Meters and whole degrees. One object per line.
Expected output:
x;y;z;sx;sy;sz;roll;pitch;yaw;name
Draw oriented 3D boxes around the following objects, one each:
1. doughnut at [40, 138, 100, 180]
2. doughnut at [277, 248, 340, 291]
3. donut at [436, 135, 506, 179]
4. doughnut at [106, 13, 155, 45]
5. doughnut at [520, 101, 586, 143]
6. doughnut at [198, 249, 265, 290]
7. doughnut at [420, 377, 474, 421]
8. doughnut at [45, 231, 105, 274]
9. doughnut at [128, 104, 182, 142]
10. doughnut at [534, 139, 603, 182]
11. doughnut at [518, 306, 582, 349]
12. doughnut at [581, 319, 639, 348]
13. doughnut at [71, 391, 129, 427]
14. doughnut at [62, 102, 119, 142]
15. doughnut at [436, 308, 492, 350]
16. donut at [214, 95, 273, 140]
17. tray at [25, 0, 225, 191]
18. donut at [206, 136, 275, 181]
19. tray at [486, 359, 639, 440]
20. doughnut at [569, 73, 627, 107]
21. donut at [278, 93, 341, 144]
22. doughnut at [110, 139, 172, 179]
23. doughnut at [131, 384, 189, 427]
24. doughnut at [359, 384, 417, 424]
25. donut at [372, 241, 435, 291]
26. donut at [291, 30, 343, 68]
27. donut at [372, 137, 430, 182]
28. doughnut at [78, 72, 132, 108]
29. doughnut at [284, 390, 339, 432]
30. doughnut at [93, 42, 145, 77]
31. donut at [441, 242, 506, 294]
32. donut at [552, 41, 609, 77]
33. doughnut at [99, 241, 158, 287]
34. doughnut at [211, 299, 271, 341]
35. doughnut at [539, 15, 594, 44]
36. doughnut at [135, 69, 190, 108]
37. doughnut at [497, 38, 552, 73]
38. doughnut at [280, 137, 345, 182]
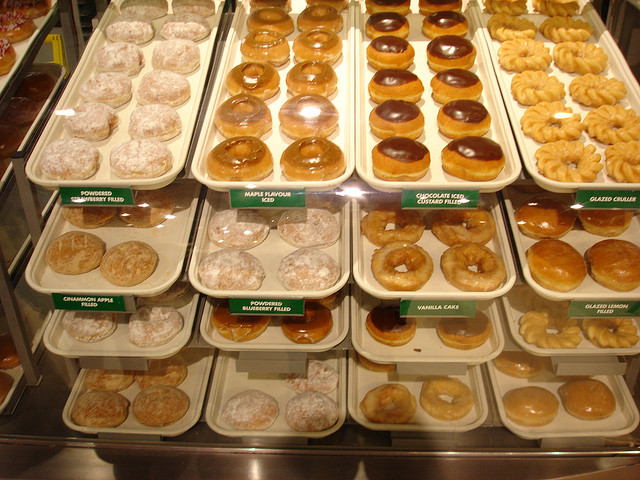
-0.950;-0.309;1.916;0.200;0.055;0.177;-26;58;-25;doughnut
-0.046;0.126;2.028;0.260;0.077;0.202;5;52;4;doughnut
0.595;-0.316;1.914;0.239;0.107;0.162;-4;53;-3;donut
-0.891;-1.003;2.358;0.196;0.077;0.176;6;48;3;doughnut
0.978;-0.492;2.046;0.245;0.065;0.221;-31;58;-22;doughnut
-0.372;0.130;2.017;0.270;0.072;0.180;2;52;2;doughnut
0.592;0.741;2.293;0.253;0.037;0.235;-5;34;9;doughnut
-1.027;0.044;2.062;0.232;0.053;0.211;11;53;-7;doughnut
-0.698;-0.498;2.062;0.199;0.094;0.174;8;53;7;doughnut
0.969;-0.308;1.913;0.213;0.068;0.186;7;52;17;doughnut
1.001;0.391;2.071;0.230;0.057;0.208;1;42;3;doughnut
1.251;0.409;2.107;0.222;0.080;0.112;2;53;2;doughnut
-1.011;0.780;2.240;0.244;0.066;0.168;2;52;2;doughnut
-0.952;-0.495;2.019;0.201;0.061;0.175;11;47;4;doughnut
0.624;0.394;2.126;0.198;0.062;0.205;28;46;36;doughnut
-0.328;-0.516;2.069;0.208;0.107;0.231;20;55;15;donut
-0.920;-0.606;2.234;0.594;0.109;1.017;7;57;-1;tray
-0.332;-0.337;1.971;0.301;0.263;0.084;-4;70;-23;donut
1.125;0.736;2.249;0.633;0.122;0.341;0;52;0;tray
1.223;-0.680;2.180;0.265;0.069;0.244;11;36;19;doughnut
-0.047;-0.515;2.039;0.269;0.115;0.233;-16;56;-11;donut
-0.710;-0.316;1.921;0.232;0.078;0.186;-6;52;-4;doughnut
-0.745;0.751;2.275;0.273;0.064;0.253;-10;35;-19;doughnut
0.320;0.773;2.259;0.286;0.082;0.185;-7;70;-25;doughnut
0.346;0.114;2.025;0.254;0.082;0.240;7;52;6;donut
-0.018;-0.881;2.334;0.228;0.099;0.204;15;48;13;donut
0.319;-0.314;1.942;0.210;0.089;0.183;6;41;9;donut
-0.919;-0.664;2.135;0.189;0.061;0.173;-22;52;-23;doughnut
-0.034;0.789;2.218;0.241;0.059;0.175;2;52;2;doughnut
-0.922;-0.824;2.251;0.202;0.085;0.168;14;55;6;doughnut
0.636;0.117;2.020;0.246;0.065;0.242;-13;53;-10;donut
1.186;-0.835;2.222;0.223;0.069;0.201;-7;47;-2;donut
-0.802;0.102;2.034;0.229;0.062;0.204;-7;52;-5;doughnut
-0.364;0.364;2.138;0.249;0.077;0.169;17;54;14;doughnut
1.175;-1.015;2.338;0.194;0.050;0.173;-4;37;0;doughnut
-0.692;-0.700;2.178;0.270;0.081;0.200;-12;68;-5;doughnut
0.966;-0.854;2.304;0.261;0.067;0.226;-12;33;-9;doughnut
-0.026;-0.313;1.923;0.244;0.081;0.222;21;55;16;doughnut
